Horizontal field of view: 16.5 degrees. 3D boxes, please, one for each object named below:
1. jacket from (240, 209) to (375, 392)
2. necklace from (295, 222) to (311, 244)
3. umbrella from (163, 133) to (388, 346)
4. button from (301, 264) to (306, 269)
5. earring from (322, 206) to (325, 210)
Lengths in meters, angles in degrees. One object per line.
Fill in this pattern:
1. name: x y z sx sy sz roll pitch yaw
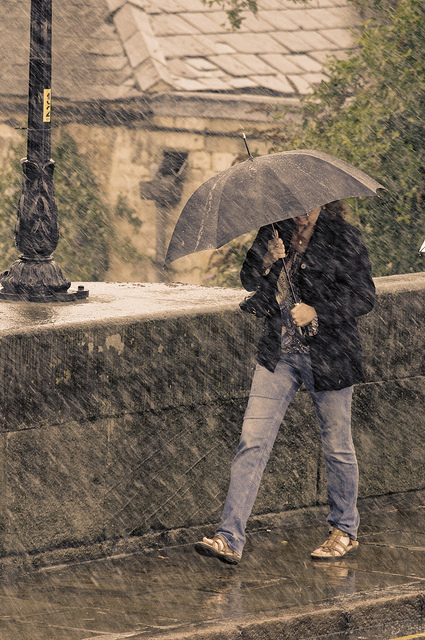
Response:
1. jacket: 0.414 -0.081 6.760 0.876 0.932 0.249 3 3 34
2. necklace: 0.418 -0.396 6.755 0.063 0.084 0.030 0 12 -23
3. umbrella: 0.338 -0.212 6.715 1.142 1.186 0.451 2 3 25
4. button: 0.413 -0.244 6.692 0.024 0.023 0.005 0 3 4
5. earring: 0.510 -0.514 6.765 0.004 0.014 0.016 -15 -13 -11
